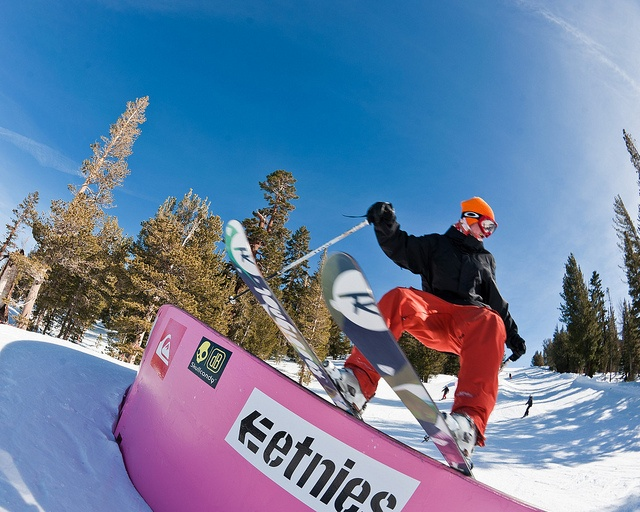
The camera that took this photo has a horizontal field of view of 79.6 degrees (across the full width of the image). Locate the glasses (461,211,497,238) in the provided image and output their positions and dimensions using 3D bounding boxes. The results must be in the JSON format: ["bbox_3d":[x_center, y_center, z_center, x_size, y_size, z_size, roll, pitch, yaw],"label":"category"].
[{"bbox_3d":[1.327,-0.263,3.226,0.251,0.162,0.211,25,-8,28],"label":"glasses"}]
